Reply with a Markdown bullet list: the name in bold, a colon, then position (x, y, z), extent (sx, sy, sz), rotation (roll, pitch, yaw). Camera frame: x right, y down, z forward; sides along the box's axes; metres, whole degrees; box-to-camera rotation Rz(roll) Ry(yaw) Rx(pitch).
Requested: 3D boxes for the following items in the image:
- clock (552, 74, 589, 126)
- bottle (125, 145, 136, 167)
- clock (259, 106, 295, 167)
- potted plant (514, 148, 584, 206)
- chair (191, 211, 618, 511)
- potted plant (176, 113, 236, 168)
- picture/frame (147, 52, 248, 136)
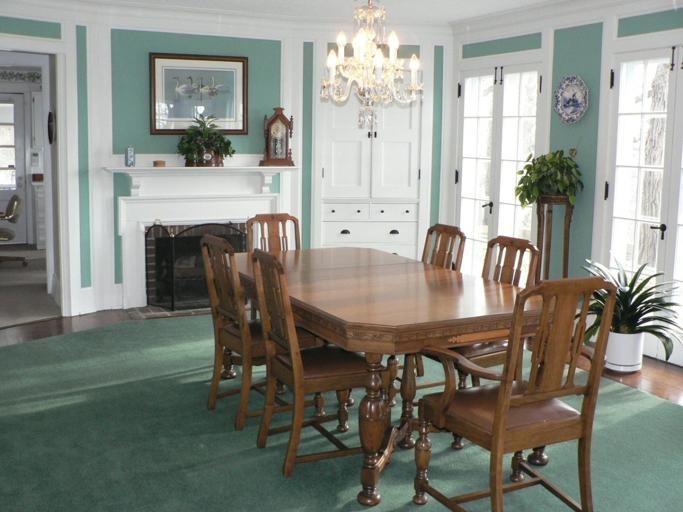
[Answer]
- **clock**: position (2.312, -1.574, 5.190), extent (0.077, 0.468, 0.393), rotation (-6, 9, -30)
- **bottle**: position (-2.302, -1.073, 5.584), extent (0.107, 0.231, 0.270), rotation (-4, 8, -20)
- **clock**: position (-0.775, -1.399, 6.089), extent (0.402, 0.683, 0.187), rotation (-1, 8, -5)
- **potted plant**: position (2.048, -0.761, 5.091), extent (0.616, 0.459, 0.602), rotation (1, 17, 29)
- **chair**: position (0.492, 0.567, 3.020), extent (1.153, 0.958, 1.896), rotation (-3, 5, -21)
- **potted plant**: position (-1.536, -1.237, 5.786), extent (0.610, 0.567, 0.605), rotation (-5, 9, -29)
- **picture/frame**: position (-1.681, -1.862, 5.815), extent (1.020, 0.836, 0.053), rotation (-1, 2, -17)
